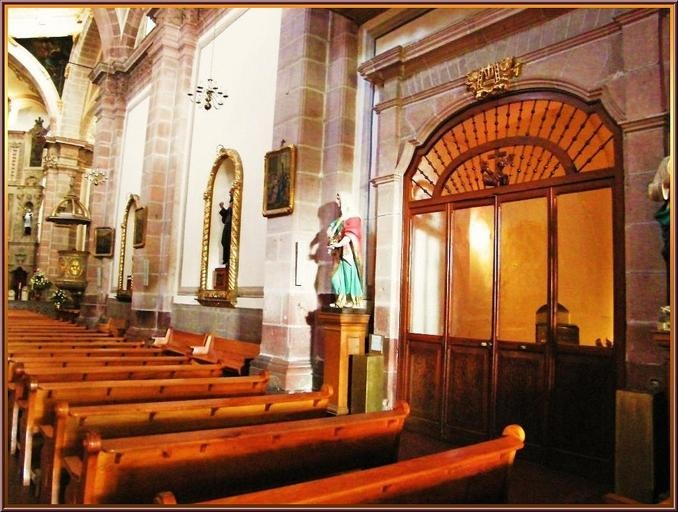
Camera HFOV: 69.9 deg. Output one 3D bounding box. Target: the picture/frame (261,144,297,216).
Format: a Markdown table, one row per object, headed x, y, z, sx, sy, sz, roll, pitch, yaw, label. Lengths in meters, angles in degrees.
| x | y | z | sx | sy | sz | roll | pitch | yaw | label |
| --- | --- | --- | --- | --- | --- | --- | --- | --- | --- |
| -0.856 | -1.068 | 6.914 | 0.135 | 1.024 | 0.726 | 6 | -6 | -42 | picture/frame |

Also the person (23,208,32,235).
| x | y | z | sx | sy | sz | roll | pitch | yaw | label |
| --- | --- | --- | --- | --- | --- | --- | --- | --- | --- |
| -14.006 | -1.562 | 21.736 | 0.378 | 1.234 | 0.325 | 1 | -5 | 0 | person |

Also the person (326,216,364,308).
| x | y | z | sx | sy | sz | roll | pitch | yaw | label |
| --- | --- | --- | --- | --- | --- | --- | --- | --- | --- |
| 0.087 | 0.057 | 6.025 | 0.432 | 1.126 | 0.315 | 1 | -5 | 3 | person |

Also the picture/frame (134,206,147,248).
| x | y | z | sx | sy | sz | roll | pitch | yaw | label |
| --- | --- | --- | --- | --- | --- | --- | --- | --- | --- |
| -4.215 | -0.615 | 10.263 | 0.127 | 0.882 | 0.828 | 5 | -9 | -31 | picture/frame |

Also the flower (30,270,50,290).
| x | y | z | sx | sy | sz | roll | pitch | yaw | label |
| --- | --- | --- | --- | --- | --- | --- | --- | --- | --- |
| -10.764 | 0.851 | 17.395 | 0.704 | 0.853 | 0.677 | -2 | -2 | -34 | flower |

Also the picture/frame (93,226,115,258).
| x | y | z | sx | sy | sz | roll | pitch | yaw | label |
| --- | --- | --- | --- | --- | --- | --- | --- | --- | --- |
| -6.186 | -0.377 | 12.764 | 0.763 | 0.848 | 0.090 | -6 | -9 | 35 | picture/frame |
